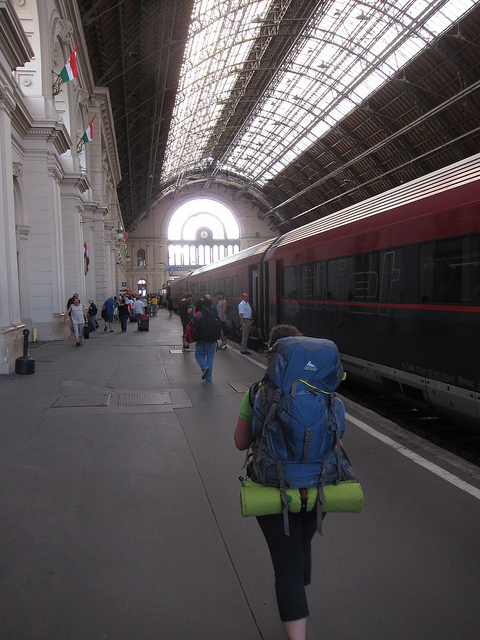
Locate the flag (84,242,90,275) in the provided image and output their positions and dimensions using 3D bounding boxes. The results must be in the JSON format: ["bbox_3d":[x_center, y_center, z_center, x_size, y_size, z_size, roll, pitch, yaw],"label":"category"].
[{"bbox_3d":[-9.475,-3.702,23.790,0.196,1.990,1.650,2,-3,-21],"label":"flag"}]

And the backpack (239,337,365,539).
[{"bbox_3d":[0.223,0.423,1.381,0.436,0.706,0.284,1,-3,1],"label":"backpack"}]

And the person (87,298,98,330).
[{"bbox_3d":[-8.291,-0.259,21.710,0.443,1.698,2.125,2,-3,-22],"label":"person"}]

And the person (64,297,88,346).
[{"bbox_3d":[-6.170,0.110,14.552,0.478,1.886,0.747,-9,-4,34],"label":"person"}]

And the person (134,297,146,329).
[{"bbox_3d":[-5.847,-0.392,22.504,0.484,1.760,2.930,1,-2,-14],"label":"person"}]

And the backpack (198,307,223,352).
[{"bbox_3d":[-0.674,0.262,8.770,0.449,1.169,0.440,-2,18,-16],"label":"backpack"}]

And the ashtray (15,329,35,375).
[{"bbox_3d":[-5.246,0.777,9.486,0.365,1.086,0.369,-1,-1,-44],"label":"ashtray"}]
